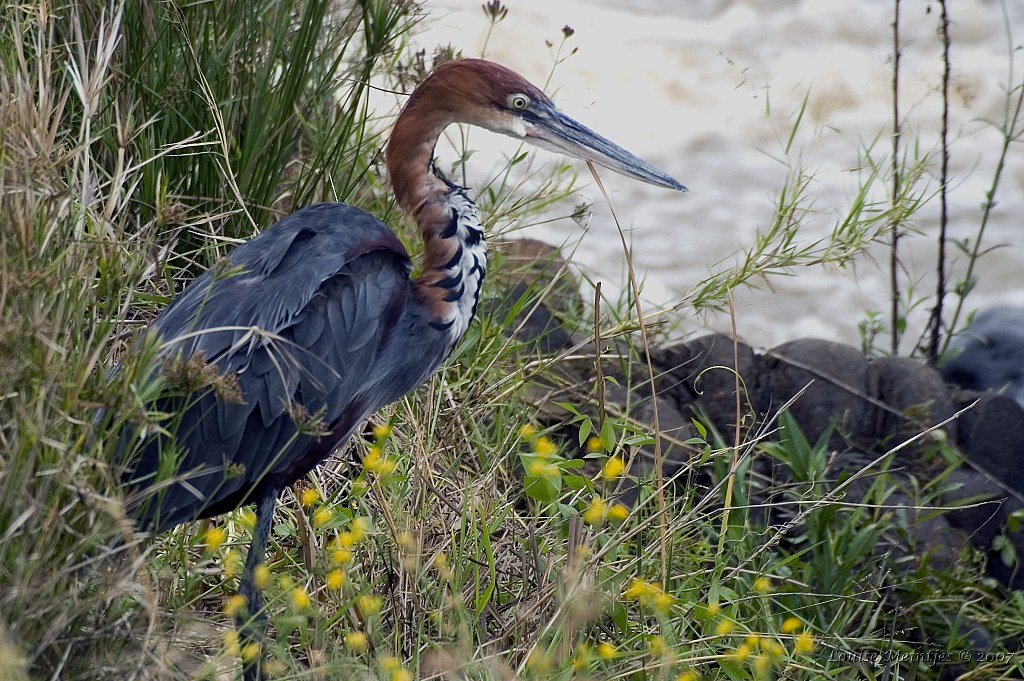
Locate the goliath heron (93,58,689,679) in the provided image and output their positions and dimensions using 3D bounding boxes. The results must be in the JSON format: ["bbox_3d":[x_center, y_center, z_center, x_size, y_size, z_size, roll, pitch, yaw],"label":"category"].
[{"bbox_3d":[-0.527,-0.005,3.413,0.931,1.963,0.394,28,-7,-6],"label":"goliath heron"}]
